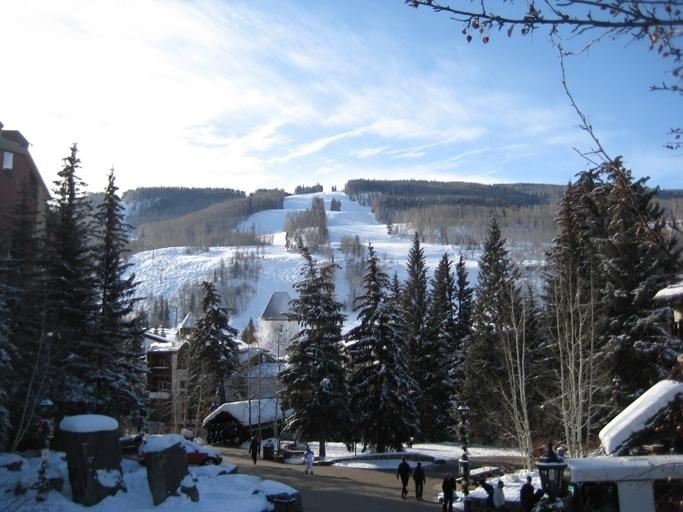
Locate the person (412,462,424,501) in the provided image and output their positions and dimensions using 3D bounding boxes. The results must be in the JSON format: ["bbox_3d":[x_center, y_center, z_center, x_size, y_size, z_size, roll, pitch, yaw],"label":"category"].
[{"bbox_3d":[3.871,11.239,39.844,0.501,1.721,1.646,-1,-5,6],"label":"person"}]

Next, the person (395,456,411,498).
[{"bbox_3d":[3.133,11.240,40.286,0.584,1.674,2.051,-1,-5,4],"label":"person"}]
